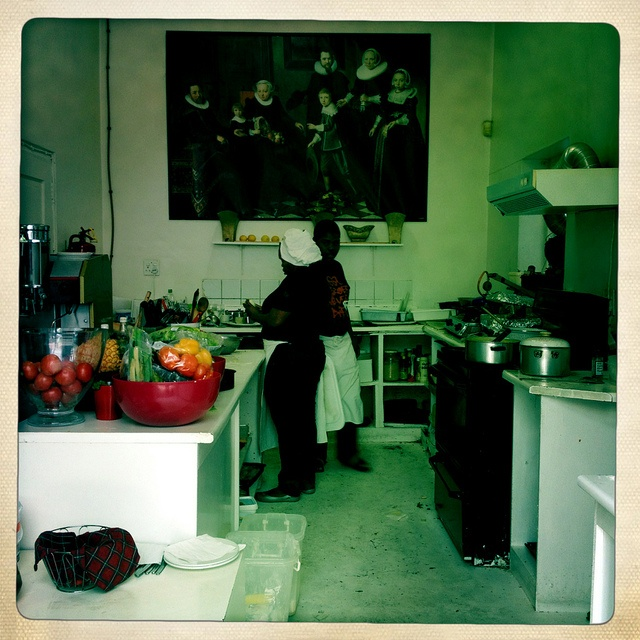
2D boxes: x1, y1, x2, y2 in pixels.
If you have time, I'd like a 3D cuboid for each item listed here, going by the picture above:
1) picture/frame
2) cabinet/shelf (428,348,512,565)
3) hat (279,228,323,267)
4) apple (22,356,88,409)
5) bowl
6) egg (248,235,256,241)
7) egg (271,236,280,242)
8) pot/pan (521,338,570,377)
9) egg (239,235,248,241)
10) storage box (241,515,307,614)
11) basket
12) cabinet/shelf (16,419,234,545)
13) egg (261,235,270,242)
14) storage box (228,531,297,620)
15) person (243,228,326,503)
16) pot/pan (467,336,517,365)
[{"bbox_3d":[-0.230,-1.541,5.271,1.425,1.120,0.027,0,6,-3],"label":"picture/frame"},{"bbox_3d":[0.669,0.593,3.164,0.252,0.889,0.629,-1,6,-7],"label":"cabinet/shelf"},{"bbox_3d":[-0.112,-0.397,3.791,0.223,0.204,0.166,-1,6,-5],"label":"hat"},{"bbox_3d":[-0.733,0.164,1.899,0.131,0.105,0.141,3,-5,-2],"label":"apple"},{"bbox_3d":[-0.457,0.236,2.036,0.333,0.170,0.344,1,4,0],"label":"bowl"},{"bbox_3d":[-0.529,-0.635,5.303,0.045,0.061,0.048,5,17,4],"label":"egg"},{"bbox_3d":[-0.351,-0.620,5.306,0.053,0.051,0.049,-18,-37,2],"label":"egg"},{"bbox_3d":[0.886,0.148,2.715,0.143,0.141,0.152,0,1,-8],"label":"pot/pan"},{"bbox_3d":[-0.595,-0.625,5.301,0.048,0.066,0.052,1,0,8],"label":"egg"},{"bbox_3d":[-0.168,0.897,2.598,0.220,0.252,0.337,0,-5,2],"label":"storage box"},{"bbox_3d":[-0.593,0.550,1.602,0.132,0.076,0.156,2,5,-9],"label":"basket"},{"bbox_3d":[-0.565,0.446,2.031,0.485,0.514,0.369,0,-2,-4],"label":"cabinet/shelf"},{"bbox_3d":[-0.423,-0.633,5.287,0.047,0.052,0.050,5,45,11],"label":"egg"},{"bbox_3d":[-0.171,0.910,2.319,0.228,0.194,0.222,-3,-18,8],"label":"storage box"},{"bbox_3d":[-0.167,0.235,3.785,0.454,1.456,0.337,-1,5,-4],"label":"person"},{"bbox_3d":[0.728,0.119,3.007,0.118,0.105,0.157,0,3,-25],"label":"pot/pan"}]
